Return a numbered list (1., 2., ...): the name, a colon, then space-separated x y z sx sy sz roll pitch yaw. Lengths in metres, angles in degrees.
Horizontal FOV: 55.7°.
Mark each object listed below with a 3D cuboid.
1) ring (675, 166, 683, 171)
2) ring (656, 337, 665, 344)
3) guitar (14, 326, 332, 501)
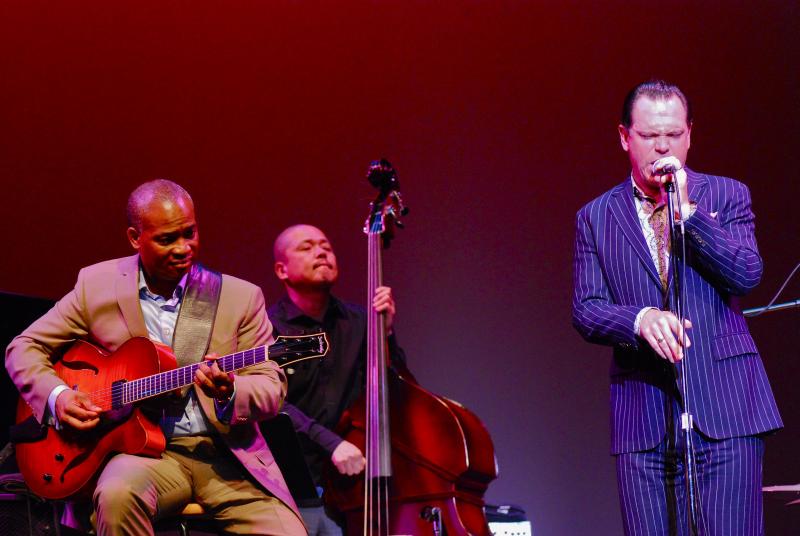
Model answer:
1. ring: 1.204 -0.429 3.251 0.034 0.020 0.013 3 -19 -25
2. ring: 1.128 0.307 3.236 0.022 0.024 0.006 -1 10 27
3. guitar: -1.523 0.750 3.948 1.127 0.822 0.237 -13 -18 19
